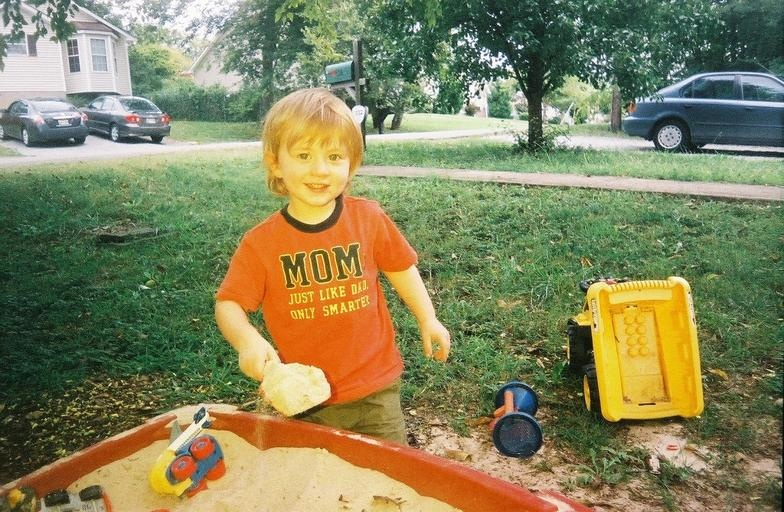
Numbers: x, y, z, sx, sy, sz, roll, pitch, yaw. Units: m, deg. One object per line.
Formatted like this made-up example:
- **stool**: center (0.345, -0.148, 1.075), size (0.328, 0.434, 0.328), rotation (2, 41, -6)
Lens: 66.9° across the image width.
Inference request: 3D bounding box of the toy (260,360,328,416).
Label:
- **toy**: center (-0.477, 0.639, 2.897), size (0.323, 0.232, 0.157), rotation (-4, 14, -14)

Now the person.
- **person**: center (-0.334, 0.082, 3.099), size (1.186, 1.858, 0.651), rotation (-5, 15, -14)

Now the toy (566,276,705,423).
- **toy**: center (1.723, 0.686, 4.176), size (0.780, 0.667, 0.965), rotation (1, 56, 10)

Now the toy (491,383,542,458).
- **toy**: center (0.750, 0.979, 3.713), size (0.386, 0.212, 0.422), rotation (-10, 19, 5)

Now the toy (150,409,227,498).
- **toy**: center (-1.025, 0.979, 2.949), size (0.358, 0.419, 0.143), rotation (-8, 16, -26)
